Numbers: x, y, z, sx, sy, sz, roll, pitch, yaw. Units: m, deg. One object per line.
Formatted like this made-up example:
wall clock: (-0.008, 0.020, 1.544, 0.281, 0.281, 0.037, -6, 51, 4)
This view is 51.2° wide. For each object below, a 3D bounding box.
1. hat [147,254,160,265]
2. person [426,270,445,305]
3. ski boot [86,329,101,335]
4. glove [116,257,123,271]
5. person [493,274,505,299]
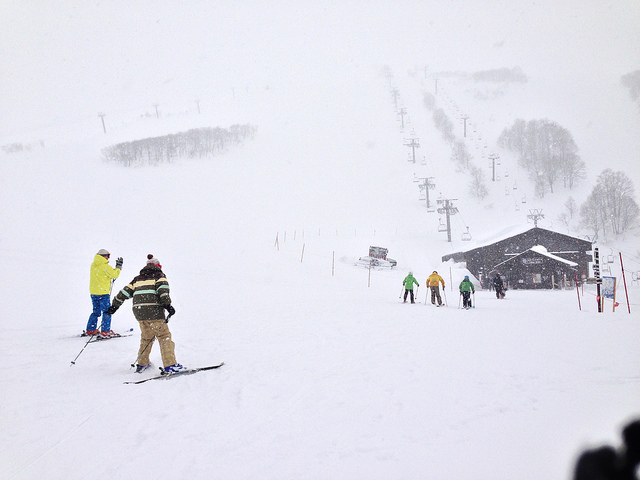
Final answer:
hat: (-6.808, 0.787, 27.137, 0.302, 0.396, 0.369, -7, 17, -7)
person: (6.819, 2.880, 39.733, 1.180, 2.524, 0.844, 4, 30, 18)
ski boot: (-10.087, 4.057, 29.519, 0.474, 0.260, 0.179, -2, -3, -5)
glove: (-8.964, 1.068, 29.696, 0.245, 0.444, 0.483, -4, 13, -21)
person: (11.014, 2.837, 41.225, 0.418, 1.362, 1.223, 0, 12, -1)
